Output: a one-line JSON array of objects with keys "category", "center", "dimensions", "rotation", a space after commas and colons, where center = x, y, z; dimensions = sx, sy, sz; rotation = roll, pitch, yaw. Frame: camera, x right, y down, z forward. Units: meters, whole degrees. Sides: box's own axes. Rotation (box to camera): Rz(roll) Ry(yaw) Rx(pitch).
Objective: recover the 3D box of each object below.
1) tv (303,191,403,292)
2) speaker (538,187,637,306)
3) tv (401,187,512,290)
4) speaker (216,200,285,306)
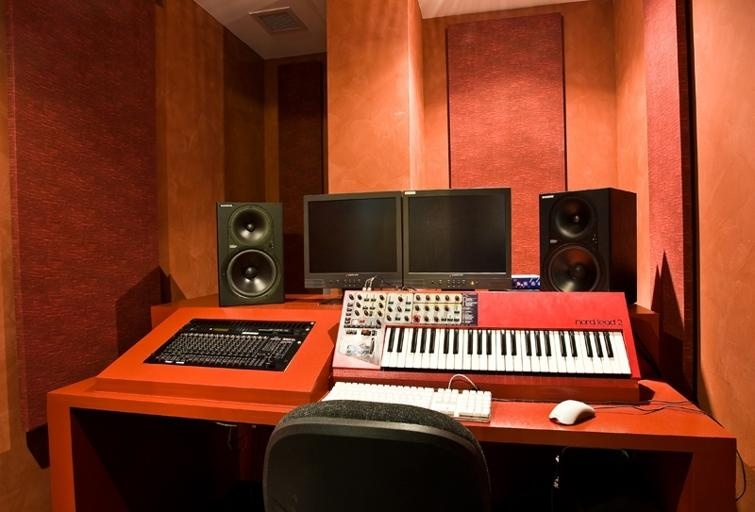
[{"category": "tv", "center": [-0.111, -0.079, 2.926], "dimensions": [0.530, 0.509, 0.226], "rotation": [0, -1, 8]}, {"category": "speaker", "center": [1.119, -0.029, 2.891], "dimensions": [0.440, 0.603, 0.368], "rotation": [-3, -7, 39]}, {"category": "tv", "center": [0.431, -0.095, 2.848], "dimensions": [0.532, 0.497, 0.092], "rotation": [0, -1, 8]}, {"category": "speaker", "center": [-0.697, -0.030, 3.079], "dimensions": [0.423, 0.587, 0.398], "rotation": [1, 5, 10]}]
